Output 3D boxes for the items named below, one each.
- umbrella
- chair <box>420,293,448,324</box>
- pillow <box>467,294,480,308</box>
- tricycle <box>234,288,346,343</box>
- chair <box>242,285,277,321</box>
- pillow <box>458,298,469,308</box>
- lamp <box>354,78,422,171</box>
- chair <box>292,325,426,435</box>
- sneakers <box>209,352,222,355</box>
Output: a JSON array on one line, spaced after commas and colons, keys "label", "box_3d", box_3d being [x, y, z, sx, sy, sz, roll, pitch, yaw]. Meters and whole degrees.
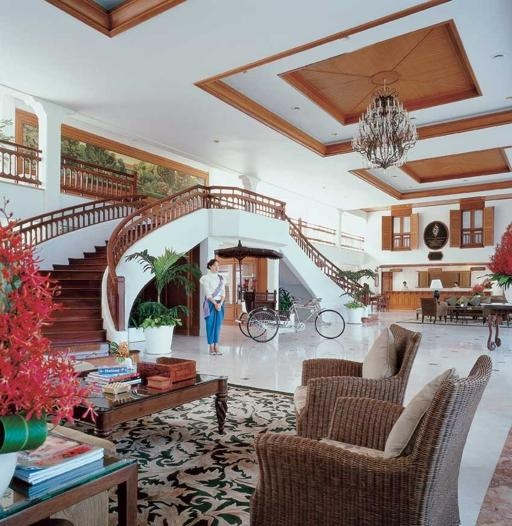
[{"label": "umbrella", "box_3d": [-0.138, 0.152, 9.855, 1.648, 1.178, 1.513, 1, -1, -2]}, {"label": "chair", "box_3d": [6.060, 1.601, 14.139, 0.772, 0.793, 1.772, -2, -1, 24]}, {"label": "pillow", "box_3d": [7.772, 1.369, 14.749, 0.148, 0.416, 0.452, 13, 30, 5]}, {"label": "tricycle", "box_3d": [0.920, 1.255, 9.240, 2.472, 0.940, 0.839, 2, 9, -22]}, {"label": "chair", "box_3d": [0.069, 0.853, 9.176, 0.606, 0.495, 0.828, 0, 2, -14]}, {"label": "pillow", "box_3d": [7.447, 1.403, 14.832, 0.327, 0.340, 0.373, 8, -14, 4]}, {"label": "lamp", "box_3d": [2.393, -2.480, 7.708, 1.032, 1.241, 0.983, 1, 6, 26]}, {"label": "chair", "box_3d": [0.604, 0.699, 2.879, 0.914, 0.950, 0.764, 2, -7, 12]}, {"label": "sneakers", "box_3d": [-0.686, 1.530, 7.020, 0.217, 0.074, 0.063, -2, -4, 17]}]
